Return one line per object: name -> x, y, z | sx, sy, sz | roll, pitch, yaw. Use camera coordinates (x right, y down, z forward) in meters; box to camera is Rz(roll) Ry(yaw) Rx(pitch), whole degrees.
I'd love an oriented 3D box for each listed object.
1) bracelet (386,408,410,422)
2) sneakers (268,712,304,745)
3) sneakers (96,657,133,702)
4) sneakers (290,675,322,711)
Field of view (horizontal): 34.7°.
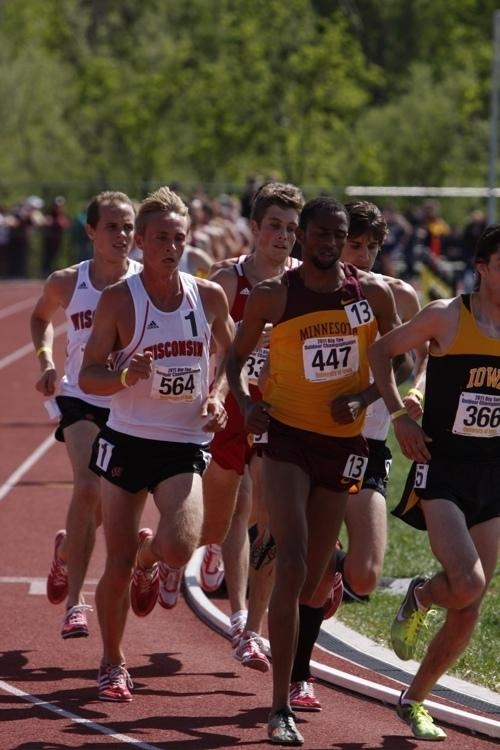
bracelet -> 0.474, 0.125, 2.571 | 0.049, 0.012, 0.049 | -25, -2, 37
sneakers -> 0.104, 1.038, 2.347 | 0.067, 0.054, 0.145 | 3, -14, -13
sneakers -> -0.483, 1.093, 2.864 | 0.087, 0.075, 0.191 | 3, -9, -20
sneakers -> 0.193, 1.147, 2.849 | 0.064, 0.064, 0.165 | 3, -11, -21
